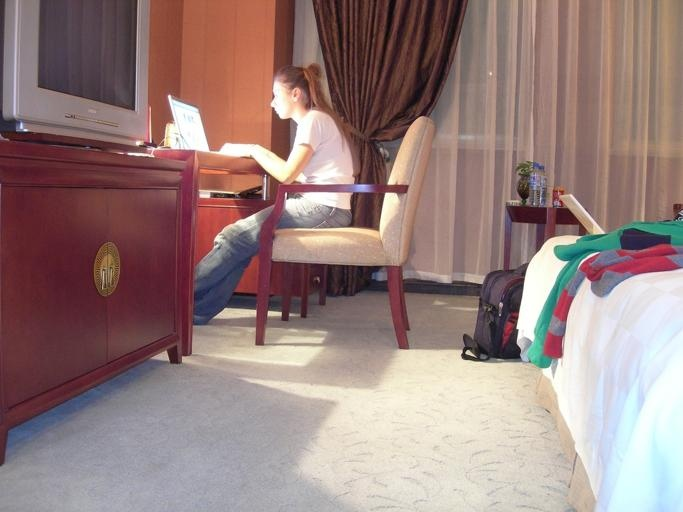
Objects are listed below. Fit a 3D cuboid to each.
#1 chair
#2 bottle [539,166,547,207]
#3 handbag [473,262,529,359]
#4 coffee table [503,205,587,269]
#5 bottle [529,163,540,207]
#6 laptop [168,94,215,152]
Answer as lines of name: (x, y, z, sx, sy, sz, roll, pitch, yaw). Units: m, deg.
chair: (-0.073, -0.153, 3.213, 1.110, 1.556, 1.031, 1, 3, 4)
bottle: (1.288, -0.434, 3.323, 0.044, 0.225, 0.133, 4, 7, 21)
handbag: (0.789, 0.274, 2.553, 0.230, 0.463, 0.324, 1, 11, -10)
coffee table: (1.340, -0.079, 3.506, 0.476, 0.606, 0.502, 6, 16, 18)
bottle: (1.255, -0.464, 3.372, 0.075, 0.270, 0.237, 4, 7, 18)
laptop: (-0.784, -0.771, 3.100, 0.285, 0.301, 0.432, -9, 13, -9)
